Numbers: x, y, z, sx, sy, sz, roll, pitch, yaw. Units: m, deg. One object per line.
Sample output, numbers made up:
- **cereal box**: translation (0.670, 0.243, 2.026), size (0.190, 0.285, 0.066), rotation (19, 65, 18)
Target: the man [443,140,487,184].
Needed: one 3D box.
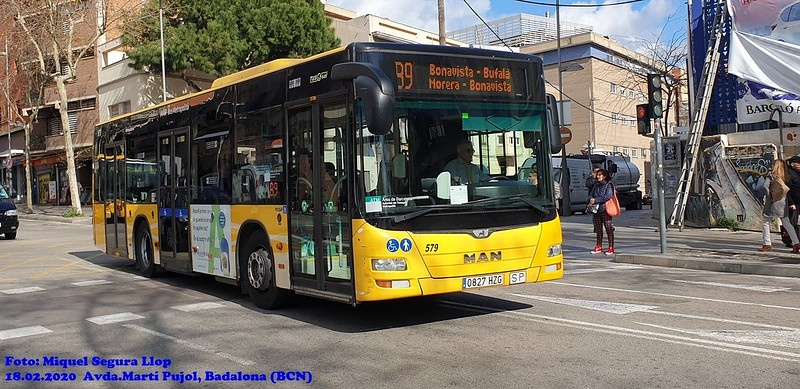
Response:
- **man**: translation (1.527, -0.806, 13.440), size (0.609, 0.827, 1.160), rotation (-3, 1, 43)

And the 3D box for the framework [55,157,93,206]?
- **framework**: translation (-34.556, -1.261, 57.044), size (3.718, 4.347, 2.649), rotation (2, 9, -2)

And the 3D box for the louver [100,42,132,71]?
- **louver**: translation (-27.012, -13.433, 52.702), size (1.545, 0.887, 1.652), rotation (37, 60, 27)

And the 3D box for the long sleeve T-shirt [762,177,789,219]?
- **long sleeve T-shirt**: translation (13.808, 0.123, 20.119), size (0.756, 1.243, 1.050), rotation (-1, 1, 38)

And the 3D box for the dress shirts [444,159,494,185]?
- **dress shirts**: translation (1.670, -0.526, 13.571), size (1.136, 0.503, 0.266), rotation (-4, 5, 8)

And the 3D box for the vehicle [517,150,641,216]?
- **vehicle**: translation (14.869, -0.924, 41.710), size (8.333, 3.415, 2.809), rotation (-3, 7, -14)
